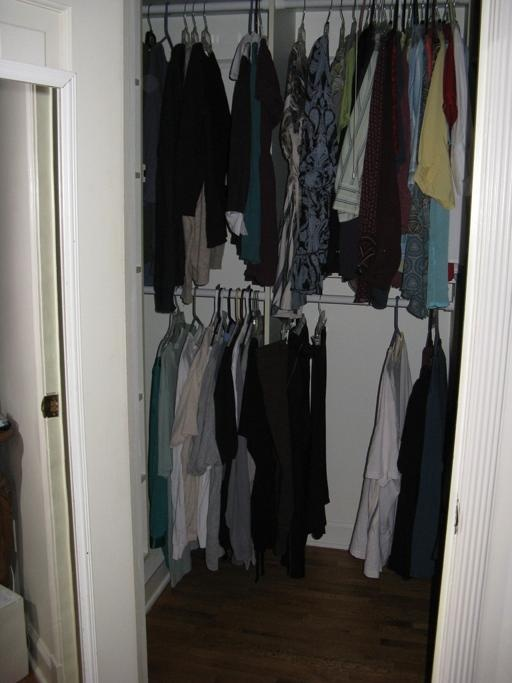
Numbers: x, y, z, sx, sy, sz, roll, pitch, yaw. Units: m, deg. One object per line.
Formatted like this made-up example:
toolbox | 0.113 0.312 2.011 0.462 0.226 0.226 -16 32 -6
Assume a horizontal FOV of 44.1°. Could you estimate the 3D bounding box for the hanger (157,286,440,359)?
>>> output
hanger | 0.151 -0.046 2.390 1.178 0.330 0.447 2 9 6
